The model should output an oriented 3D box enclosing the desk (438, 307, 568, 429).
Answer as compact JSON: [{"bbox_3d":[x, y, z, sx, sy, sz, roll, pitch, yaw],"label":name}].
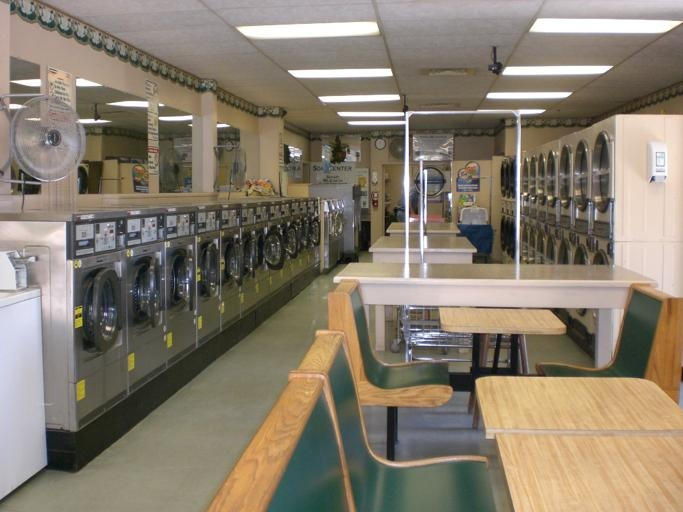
[{"bbox_3d":[1.063,0.726,3.481,0.815,0.646,0.829,29,-15,-12],"label":"desk"}]

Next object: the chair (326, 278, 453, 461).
[{"bbox_3d":[0.341,0.694,3.134,0.715,0.898,0.716,-3,2,-5],"label":"chair"}]

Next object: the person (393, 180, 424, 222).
[{"bbox_3d":[1.831,-1.643,14.476,0.540,1.074,0.567,-13,-18,43],"label":"person"}]
